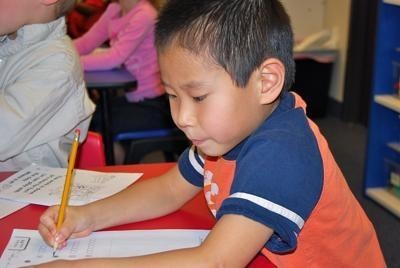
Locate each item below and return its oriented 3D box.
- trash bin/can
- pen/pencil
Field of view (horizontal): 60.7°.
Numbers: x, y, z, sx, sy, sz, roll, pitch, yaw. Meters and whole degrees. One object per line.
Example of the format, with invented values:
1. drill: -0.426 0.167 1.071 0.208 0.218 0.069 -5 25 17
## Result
1. trash bin/can: 1.070 -0.586 3.877 0.707 0.742 0.617 -2 7 -2
2. pen/pencil: -0.402 0.172 1.021 0.022 0.321 0.021 5 -3 39
